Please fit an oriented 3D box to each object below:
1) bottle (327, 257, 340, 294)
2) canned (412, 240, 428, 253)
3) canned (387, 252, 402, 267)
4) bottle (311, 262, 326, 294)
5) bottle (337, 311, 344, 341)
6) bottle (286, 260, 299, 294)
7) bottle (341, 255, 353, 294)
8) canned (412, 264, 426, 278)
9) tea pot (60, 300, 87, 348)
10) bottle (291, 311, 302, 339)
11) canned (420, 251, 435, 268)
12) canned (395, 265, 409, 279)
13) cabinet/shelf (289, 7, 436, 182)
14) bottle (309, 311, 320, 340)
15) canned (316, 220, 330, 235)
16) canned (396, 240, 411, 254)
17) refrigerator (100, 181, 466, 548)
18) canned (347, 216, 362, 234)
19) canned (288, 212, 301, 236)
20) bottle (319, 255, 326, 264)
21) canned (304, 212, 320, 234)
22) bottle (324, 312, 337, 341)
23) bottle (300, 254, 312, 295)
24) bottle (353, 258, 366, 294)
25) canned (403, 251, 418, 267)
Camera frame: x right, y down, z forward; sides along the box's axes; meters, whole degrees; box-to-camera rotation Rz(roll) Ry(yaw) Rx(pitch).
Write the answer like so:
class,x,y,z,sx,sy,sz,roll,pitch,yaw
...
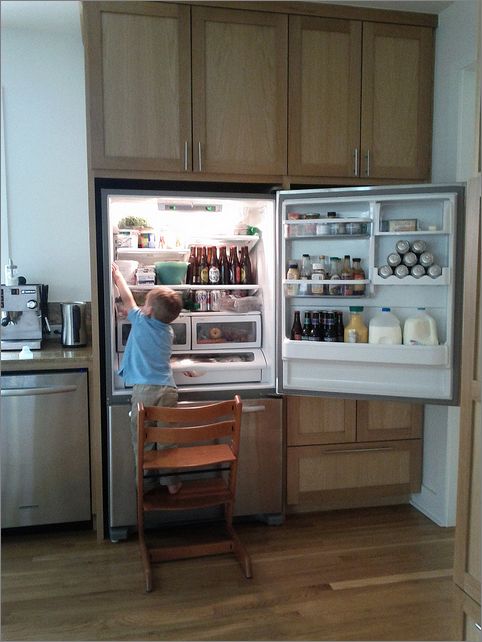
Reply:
class,x,y,z,sx,sy,sz,roll,pitch,yaw
bottle,0.380,-0.183,2.197,0.046,0.151,0.103,1,5,9
canned,0.690,-0.286,2.112,0.054,0.055,0.047,2,5,18
canned,0.602,-0.240,2.127,0.047,0.054,0.049,7,5,15
bottle,0.313,-0.171,2.205,0.056,0.126,0.067,1,5,7
bottle,0.414,0.021,2.255,0.023,0.121,0.057,3,6,34
bottle,0.213,-0.176,2.243,0.058,0.133,0.060,0,5,0
bottle,0.429,-0.187,2.194,0.048,0.157,0.071,1,5,10
canned,0.687,-0.194,2.105,0.054,0.055,0.036,2,5,19
tea pot,-0.794,0.020,2.584,0.123,0.224,0.187,-3,10,-20
bottle,0.233,0.014,2.279,0.044,0.117,0.083,0,5,5
canned,0.713,-0.238,2.089,0.049,0.054,0.049,20,4,17
canned,0.629,-0.194,2.128,0.054,0.053,0.040,2,5,16
cabinet/shelf,0.500,-1.004,2.355,0.633,0.657,0.256,-1,8,-8
bottle,0.303,0.020,2.229,0.046,0.113,0.034,1,5,8
canned,0.328,-0.374,2.171,0.044,0.048,0.046,0,5,2
canned,0.634,-0.288,2.125,0.052,0.056,0.040,2,5,17
refrigerator,0.243,0.005,2.735,1.836,2.004,1.357,0,2,-1
canned,0.449,-0.386,2.149,0.045,0.050,0.048,0,8,1
canned,0.215,-0.391,2.204,0.047,0.096,0.047,1,5,6
bottle,0.334,-0.254,2.237,0.029,0.053,0.031,0,1,0
canned,0.285,-0.395,2.211,0.068,0.115,0.073,1,2,-2
bottle,0.367,0.022,2.225,0.051,0.116,0.030,1,5,9
bottle,0.267,-0.194,2.252,0.051,0.166,0.054,0,5,0
bottle,0.472,-0.179,2.178,0.052,0.145,0.089,1,5,11
canned,0.660,-0.240,2.118,0.059,0.063,0.034,2,5,18
